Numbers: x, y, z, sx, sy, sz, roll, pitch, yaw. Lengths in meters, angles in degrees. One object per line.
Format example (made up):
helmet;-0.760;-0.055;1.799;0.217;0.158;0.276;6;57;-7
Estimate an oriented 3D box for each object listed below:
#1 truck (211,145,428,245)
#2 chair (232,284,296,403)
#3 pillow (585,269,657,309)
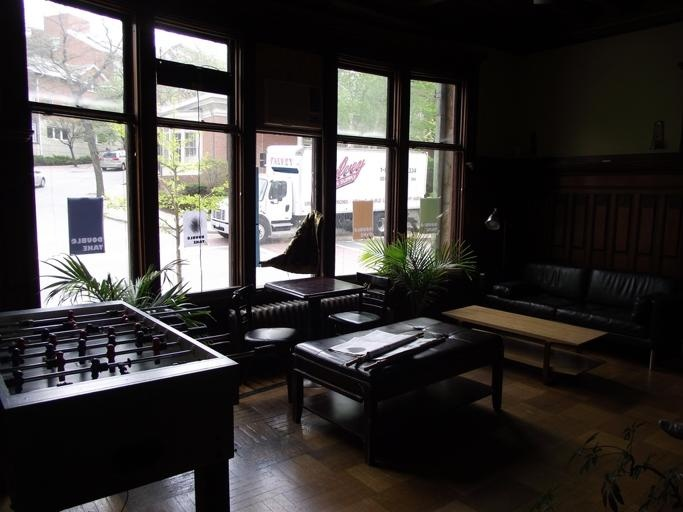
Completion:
truck;-0.301;-0.864;6.402;3.057;1.218;0.930;-4;8;-34
chair;-0.679;0.777;4.688;0.589;0.924;0.518;4;5;-7
pillow;3.455;0.390;6.258;0.132;0.473;0.476;25;-10;-39
